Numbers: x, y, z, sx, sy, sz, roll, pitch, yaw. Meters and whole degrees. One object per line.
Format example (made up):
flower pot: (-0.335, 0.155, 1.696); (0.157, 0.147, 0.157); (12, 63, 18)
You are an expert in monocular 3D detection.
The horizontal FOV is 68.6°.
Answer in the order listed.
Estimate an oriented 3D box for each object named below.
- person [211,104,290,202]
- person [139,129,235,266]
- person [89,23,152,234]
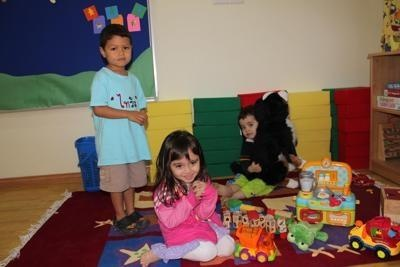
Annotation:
person: (0.410, 0.173, 2.766); (0.766, 0.798, 0.424); (-21, 17, -24)
person: (-0.121, 0.490, 2.192); (0.779, 0.954, 0.588); (-11, 10, -43)
person: (-0.627, -0.070, 2.338); (0.427, 1.599, 0.374); (-7, 9, -15)
